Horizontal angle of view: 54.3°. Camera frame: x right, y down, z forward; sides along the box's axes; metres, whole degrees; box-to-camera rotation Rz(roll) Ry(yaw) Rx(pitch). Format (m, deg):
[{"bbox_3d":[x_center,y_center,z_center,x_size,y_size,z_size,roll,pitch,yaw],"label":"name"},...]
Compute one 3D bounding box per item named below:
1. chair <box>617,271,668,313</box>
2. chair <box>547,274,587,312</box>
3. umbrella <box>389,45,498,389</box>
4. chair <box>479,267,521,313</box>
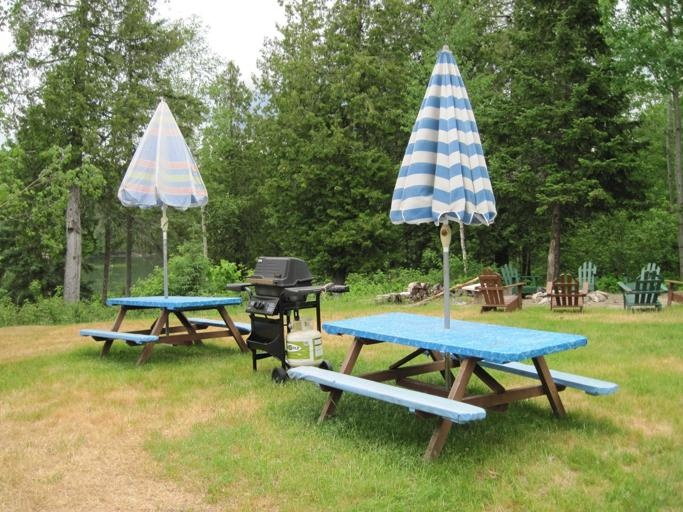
[{"bbox_3d":[8.196,0.959,18.311,0.976,1.223,1.364,0,2,8],"label":"chair"},{"bbox_3d":[6.262,0.937,18.781,0.885,1.115,1.141,-1,13,9],"label":"chair"},{"bbox_3d":[1.589,-1.044,10.394,1.535,4.375,0.974,1,12,12],"label":"umbrella"},{"bbox_3d":[4.518,0.961,19.580,1.193,1.474,1.437,0,-1,37],"label":"chair"}]
